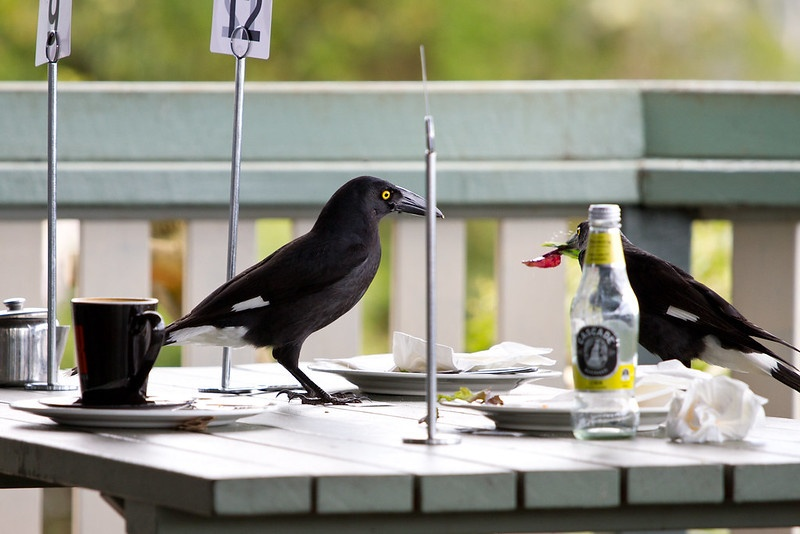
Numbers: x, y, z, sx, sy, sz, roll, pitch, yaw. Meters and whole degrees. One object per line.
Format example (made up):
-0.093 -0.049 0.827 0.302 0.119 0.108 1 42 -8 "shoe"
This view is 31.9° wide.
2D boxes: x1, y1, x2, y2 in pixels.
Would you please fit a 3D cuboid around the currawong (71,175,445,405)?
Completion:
-0.285 0.031 2.406 0.694 0.460 0.231 -2 4 -10 "currawong"

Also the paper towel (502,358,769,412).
0.400 0.166 2.195 0.262 0.084 0.245 0 2 -11 "paper towel"

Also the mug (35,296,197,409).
-0.444 0.130 2.203 0.139 0.166 0.150 5 8 28 "mug"
